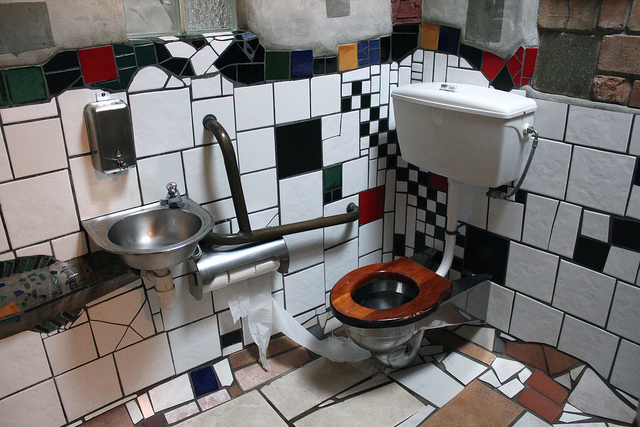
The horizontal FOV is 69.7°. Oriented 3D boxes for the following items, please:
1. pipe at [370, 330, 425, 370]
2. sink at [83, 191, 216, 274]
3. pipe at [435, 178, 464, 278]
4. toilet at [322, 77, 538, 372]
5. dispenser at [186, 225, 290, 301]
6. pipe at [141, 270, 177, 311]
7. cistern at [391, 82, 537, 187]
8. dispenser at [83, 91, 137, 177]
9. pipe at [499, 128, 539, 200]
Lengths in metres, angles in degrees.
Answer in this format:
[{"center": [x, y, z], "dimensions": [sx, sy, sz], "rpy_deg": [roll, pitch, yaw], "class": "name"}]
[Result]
[{"center": [0.344, 0.629, 2.109], "dimensions": [0.183, 0.163, 0.141], "rpy_deg": [-37, 39, -25], "class": "pipe"}, {"center": [-0.645, 0.077, 1.779], "dimensions": [0.432, 0.198, 0.362], "rpy_deg": [-17, 32, -27], "class": "sink"}, {"center": [0.605, 0.053, 2.213], "dimensions": [0.091, 0.558, 0.250], "rpy_deg": [5, 0, 33], "class": "pipe"}, {"center": [0.428, 0.089, 2.133], "dimensions": [1.012, 1.251, 0.713], "rpy_deg": [-16, 26, -34], "class": "toilet"}, {"center": [-0.339, 0.246, 2.026], "dimensions": [0.417, 0.202, 0.140], "rpy_deg": [-15, 22, -33], "class": "dispenser"}, {"center": [-0.625, 0.286, 1.905], "dimensions": [0.148, 0.161, 0.180], "rpy_deg": [-5, 21, -31], "class": "pipe"}, {"center": [0.646, -0.398, 2.127], "dimensions": [0.391, 0.380, 0.613], "rpy_deg": [-20, 32, -33], "class": "cistern"}, {"center": [-0.798, -0.313, 1.743], "dimensions": [0.175, 0.362, 0.197], "rpy_deg": [-25, 36, -38], "class": "dispenser"}, {"center": [0.865, -0.229, 2.076], "dimensions": [0.140, 0.272, 0.150], "rpy_deg": [20, 29, 32], "class": "pipe"}]
